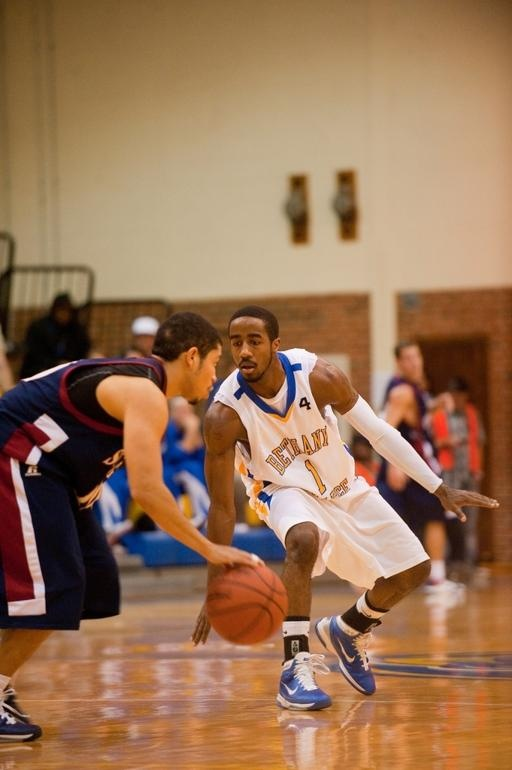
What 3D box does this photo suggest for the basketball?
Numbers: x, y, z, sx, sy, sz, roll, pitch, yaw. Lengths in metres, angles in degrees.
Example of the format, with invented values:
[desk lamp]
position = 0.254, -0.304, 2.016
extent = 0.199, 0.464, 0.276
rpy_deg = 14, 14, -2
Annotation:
[basketball]
position = -0.027, 0.498, 1.967
extent = 0.199, 0.185, 0.190
rpy_deg = 3, -13, -18

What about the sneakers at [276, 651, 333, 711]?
[sneakers]
position = 0.116, 0.785, 2.243
extent = 0.126, 0.115, 0.180
rpy_deg = 0, 0, -7
